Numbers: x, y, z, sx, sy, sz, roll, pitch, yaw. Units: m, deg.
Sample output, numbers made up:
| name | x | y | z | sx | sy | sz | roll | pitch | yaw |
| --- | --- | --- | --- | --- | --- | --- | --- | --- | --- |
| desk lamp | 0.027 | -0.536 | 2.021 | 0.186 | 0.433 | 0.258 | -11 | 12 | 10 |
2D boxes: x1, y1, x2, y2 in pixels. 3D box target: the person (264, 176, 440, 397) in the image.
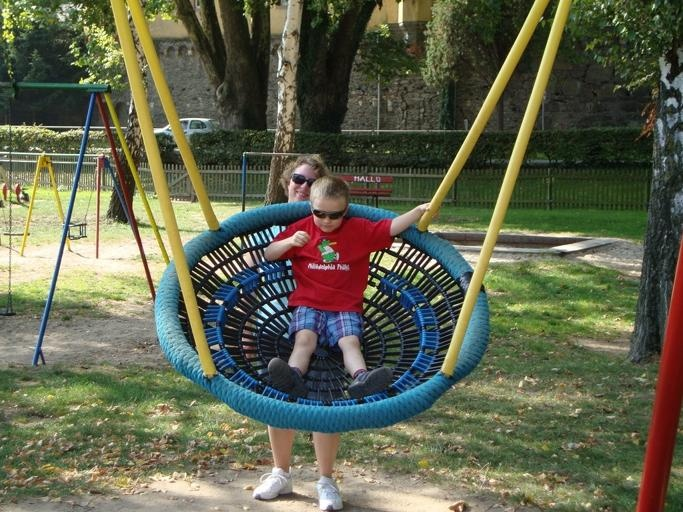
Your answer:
| name | x | y | z | sx | sy | sz | roll | pitch | yaw |
| --- | --- | --- | --- | --- | --- | --- | --- | --- | --- |
| person | -0.014 | 0.185 | 5.517 | 1.128 | 0.845 | 1.444 | 4 | 49 | -2 |

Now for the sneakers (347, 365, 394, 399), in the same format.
| name | x | y | z | sx | sy | sz | roll | pitch | yaw |
| --- | --- | --- | --- | --- | --- | --- | --- | --- | --- |
| sneakers | 0.148 | 0.740 | 5.189 | 0.315 | 0.130 | 0.195 | -14 | 11 | -4 |

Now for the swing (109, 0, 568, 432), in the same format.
| name | x | y | z | sx | sy | sz | roll | pitch | yaw |
| --- | --- | --- | --- | --- | --- | --- | --- | --- | --- |
| swing | -0.106 | -0.242 | 5.374 | 2.427 | 2.628 | 1.729 | -3 | 15 | -12 |

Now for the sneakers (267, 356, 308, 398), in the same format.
| name | x | y | z | sx | sy | sz | roll | pitch | yaw |
| --- | --- | --- | --- | --- | --- | --- | --- | --- | --- |
| sneakers | -0.338 | 0.715 | 5.159 | 0.221 | 0.268 | 0.185 | -1 | 14 | -2 |

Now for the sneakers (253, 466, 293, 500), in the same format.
| name | x | y | z | sx | sy | sz | roll | pitch | yaw |
| --- | --- | --- | --- | --- | --- | --- | --- | --- | --- |
| sneakers | -0.435 | 1.425 | 5.423 | 0.282 | 0.134 | 0.149 | -3 | 3 | -21 |
